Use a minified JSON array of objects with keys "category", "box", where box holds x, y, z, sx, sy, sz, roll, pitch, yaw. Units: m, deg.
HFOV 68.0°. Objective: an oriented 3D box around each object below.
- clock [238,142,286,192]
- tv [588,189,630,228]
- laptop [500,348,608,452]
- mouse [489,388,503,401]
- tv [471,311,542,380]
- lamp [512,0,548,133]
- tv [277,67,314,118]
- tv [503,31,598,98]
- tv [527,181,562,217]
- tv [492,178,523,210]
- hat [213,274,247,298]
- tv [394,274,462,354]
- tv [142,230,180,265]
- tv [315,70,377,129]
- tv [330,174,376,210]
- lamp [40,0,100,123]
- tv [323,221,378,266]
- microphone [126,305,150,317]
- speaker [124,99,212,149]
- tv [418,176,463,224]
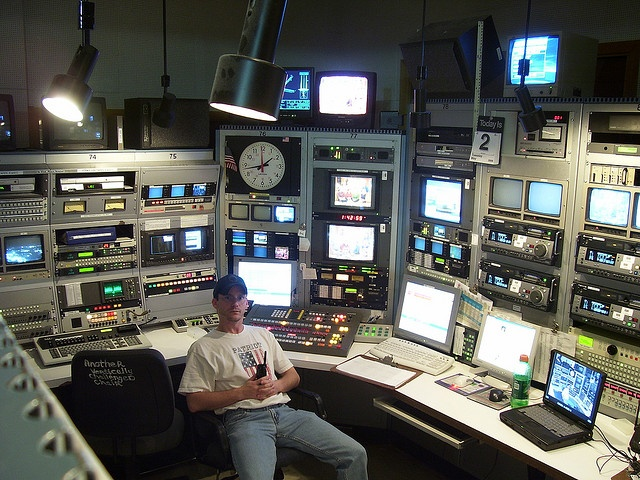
[{"category":"clock","box":[-0.495,-0.659,4.160,0.407,0.422,0.042,2,9,10]},{"category":"tv","box":[1.738,-0.193,2.835,0.113,0.197,0.205,-4,9,-39]},{"category":"laptop","box":[1.320,0.896,2.715,0.396,0.426,0.361,-5,15,-21]},{"category":"mouse","box":[1.132,0.988,3.052,0.059,0.060,0.065,0,0,-13]},{"category":"tv","box":[1.293,0.722,3.249,0.375,0.400,0.181,23,18,38]},{"category":"lamp","box":[1.334,-1.066,2.949,0.201,0.783,0.441,6,15,21]},{"category":"tv","box":[-0.198,-1.278,4.210,0.321,0.460,0.278,4,-1,6]},{"category":"tv","box":[1.563,-1.183,3.230,0.537,0.411,0.554,-2,19,4]},{"category":"tv","box":[1.534,-0.290,3.188,0.141,0.248,0.258,-16,22,-40]},{"category":"tv","box":[1.320,-0.328,3.321,0.096,0.178,0.185,-14,19,-40]},{"category":"hat","box":[-0.642,0.289,3.353,0.160,0.186,0.227,1,24,-14]},{"category":"tv","box":[0.813,0.550,3.672,0.545,0.517,0.145,15,11,39]},{"category":"tv","box":[-1.383,0.040,4.113,0.337,0.327,0.185,-7,12,-34]},{"category":"tv","box":[0.201,-1.183,4.122,0.532,0.478,0.300,1,4,-3]},{"category":"tv","box":[0.279,-0.383,4.067,0.488,0.354,0.258,2,6,14]},{"category":"lamp","box":[-1.226,-0.883,2.329,0.225,0.574,0.268,7,15,24]},{"category":"tv","box":[0.279,0.015,4.094,0.361,0.265,0.042,3,6,12]},{"category":"microphone","box":[-1.517,0.588,3.940,0.094,0.023,0.090,18,20,26]},{"category":"speaker","box":[-1.225,-1.011,4.230,0.661,0.440,0.375,0,7,-2]},{"category":"tv","box":[0.932,-0.285,3.815,0.442,0.415,0.232,8,-12,-7]}]
